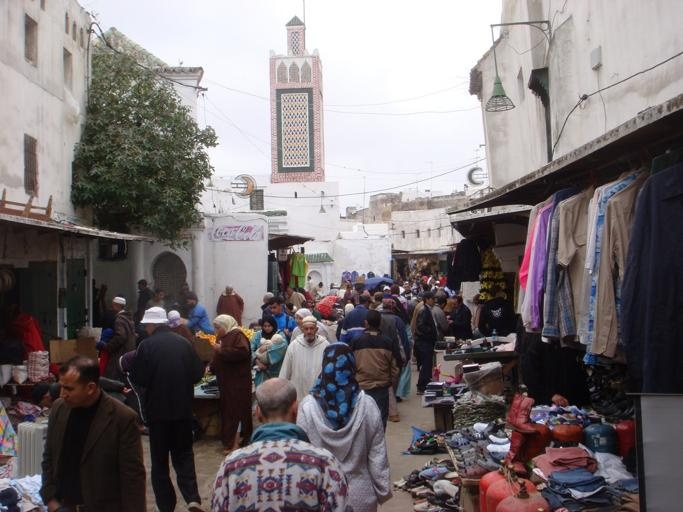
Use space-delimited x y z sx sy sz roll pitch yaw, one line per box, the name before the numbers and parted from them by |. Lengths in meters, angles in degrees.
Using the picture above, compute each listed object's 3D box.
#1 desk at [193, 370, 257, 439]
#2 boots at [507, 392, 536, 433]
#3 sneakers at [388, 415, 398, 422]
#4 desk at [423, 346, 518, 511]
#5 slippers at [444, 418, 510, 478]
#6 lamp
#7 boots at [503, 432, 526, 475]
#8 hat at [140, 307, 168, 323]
desk | -1.727 2.137 10.721 0.972 0.651 0.997 -3 -5 40
boots | 1.677 1.484 6.912 0.106 0.340 0.241 19 -20 -35
sneakers | 0.800 2.498 11.187 0.139 0.147 0.069 -5 -9 32
desk | 1.616 2.146 9.202 1.003 1.239 1.678 0 -3 7
slippers | 1.313 1.865 7.049 0.504 0.188 0.393 -18 19 -1
lamp | 3.092 -3.431 13.119 1.227 1.588 0.610 1 38 19
boots | 1.561 1.779 6.621 0.212 0.373 0.257 2 -5 -40
hat | -2.054 0.661 8.042 0.196 0.112 0.195 1 -1 31
